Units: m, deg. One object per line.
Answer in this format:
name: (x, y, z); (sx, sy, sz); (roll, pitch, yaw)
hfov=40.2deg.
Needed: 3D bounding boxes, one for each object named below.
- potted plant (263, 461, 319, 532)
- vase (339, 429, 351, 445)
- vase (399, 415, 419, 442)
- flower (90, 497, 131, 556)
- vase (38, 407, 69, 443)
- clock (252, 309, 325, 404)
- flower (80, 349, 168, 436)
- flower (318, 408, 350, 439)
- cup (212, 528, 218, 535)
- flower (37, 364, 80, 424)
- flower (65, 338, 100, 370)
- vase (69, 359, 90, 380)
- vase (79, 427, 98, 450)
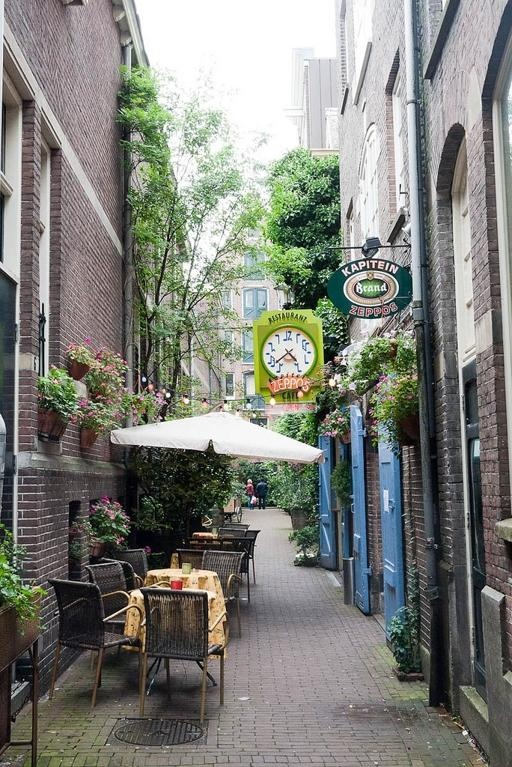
potted plant: (0.661, 2.462, 17.080); (1.692, 0.847, 1.283); (-16, 7, 7)
vase: (1.426, 0.807, 11.172); (0.223, 0.180, 0.325); (-1, -21, 7)
vase: (1.242, 0.364, 5.643); (0.194, 0.173, 0.191); (-1, -7, -3)
flower: (-1.822, 1.760, 8.396); (0.527, 0.587, 0.499); (13, -6, 26)
vase: (-1.712, 0.358, 5.929); (0.183, 0.250, 0.388); (1, -10, 0)
clock: (0.558, -0.437, 11.713); (1.427, 2.189, 0.258); (-1, -13, 3)
flower: (-1.610, 0.138, 8.566); (0.860, 1.159, 1.264); (5, -5, -2)
flower: (1.217, 0.602, 10.635); (0.406, 0.343, 0.461); (-8, 5, 33)
cup: (-0.674, 2.411, 11.452); (0.069, 0.085, 0.070); (-1, -12, 0)
flower: (-1.668, 0.113, 5.995); (0.379, 0.369, 0.386); (7, 2, -30)
flower: (-1.867, -0.335, 7.457); (0.311, 0.326, 0.313); (4, -5, -37)
vase: (-1.862, -0.148, 7.371); (0.187, 0.199, 0.194); (-2, 4, -16)
vase: (-1.920, 0.615, 7.859); (0.221, 0.223, 0.238); (1, -18, 4)
